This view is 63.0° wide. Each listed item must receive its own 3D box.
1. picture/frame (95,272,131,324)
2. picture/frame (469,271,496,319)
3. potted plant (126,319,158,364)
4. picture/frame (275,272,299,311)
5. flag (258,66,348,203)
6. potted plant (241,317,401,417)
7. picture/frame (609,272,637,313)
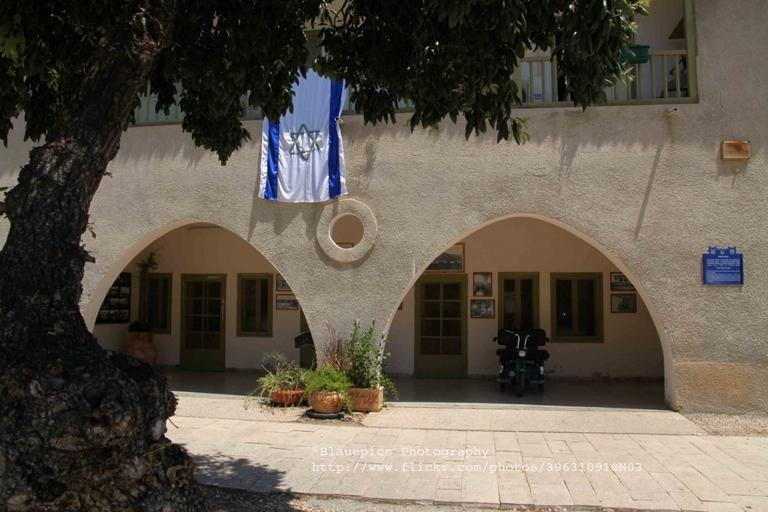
[{"bbox_3d":[-6.015,0.945,13.830,0.097,1.324,1.120,-2,-6,21],"label":"picture/frame"},{"bbox_3d":[2.209,0.866,13.967,0.561,0.972,0.195,0,4,6],"label":"picture/frame"},{"bbox_3d":[-5.691,2.050,14.696,0.593,1.006,0.534,-2,4,-22],"label":"potted plant"},{"bbox_3d":[-2.265,0.831,14.482,0.587,0.855,0.135,1,4,23],"label":"picture/frame"},{"bbox_3d":[-1.432,-2.116,11.174,1.548,2.327,0.423,0,4,7],"label":"flag"},{"bbox_3d":[-1.039,1.876,10.823,2.288,1.490,1.357,0,4,1],"label":"potted plant"},{"bbox_3d":[5.236,0.801,13.699,0.596,0.888,0.242,1,4,15],"label":"picture/frame"}]
